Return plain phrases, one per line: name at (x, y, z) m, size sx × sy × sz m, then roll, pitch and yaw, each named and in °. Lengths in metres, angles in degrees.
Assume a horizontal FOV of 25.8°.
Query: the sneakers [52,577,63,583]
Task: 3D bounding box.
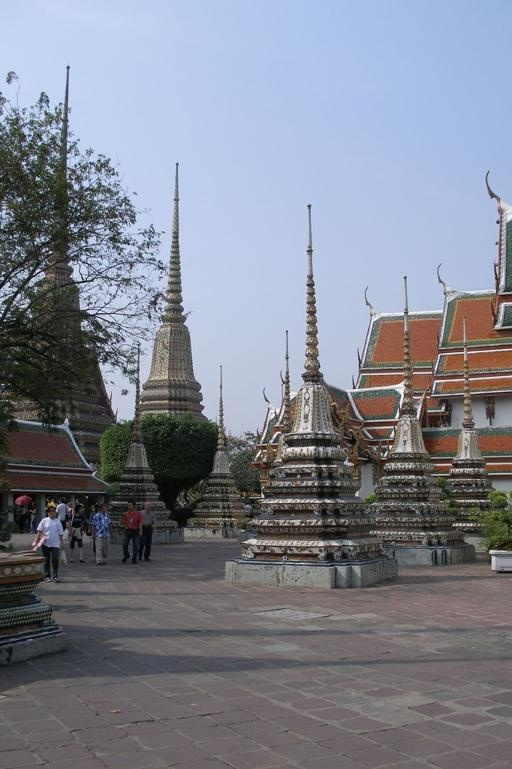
sneakers at (-2.491, 2.454, 14.012) m, size 0.060 × 0.063 × 0.150 m, roll 2°, pitch -7°, yaw -26°
